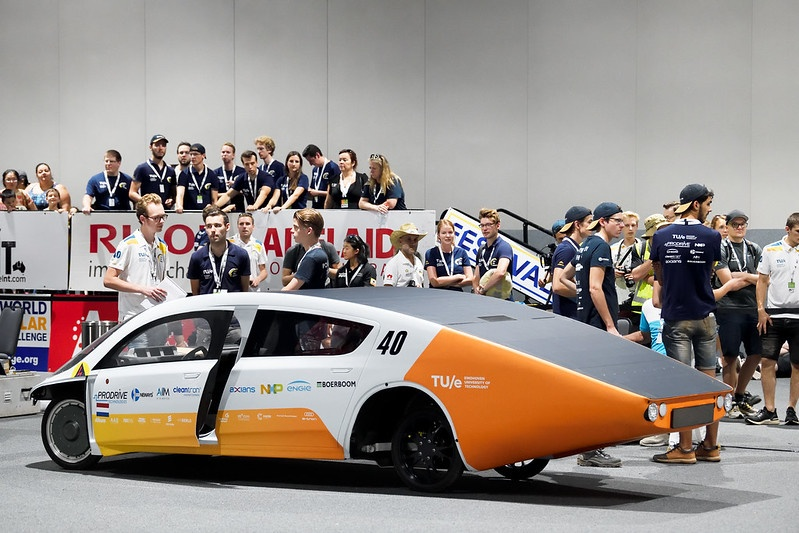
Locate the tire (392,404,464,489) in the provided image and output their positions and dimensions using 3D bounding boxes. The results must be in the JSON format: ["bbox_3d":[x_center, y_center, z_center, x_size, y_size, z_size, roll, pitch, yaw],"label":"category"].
[{"bbox_3d":[0.320,1.970,12.304,0.860,0.899,0.314,5,-7,17],"label":"tire"}]

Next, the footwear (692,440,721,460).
[{"bbox_3d":[3.640,2.179,13.469,0.153,0.170,0.364,-5,8,-38],"label":"footwear"}]

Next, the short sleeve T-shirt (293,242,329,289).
[{"bbox_3d":[-1.099,0.086,14.409,0.371,0.685,0.820,5,-2,0],"label":"short sleeve T-shirt"}]

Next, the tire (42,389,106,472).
[{"bbox_3d":[-3.743,1.863,13.118,0.892,0.936,0.352,2,-1,24],"label":"tire"}]

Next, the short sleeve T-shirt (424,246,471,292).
[{"bbox_3d":[0.678,0.073,16.178,0.701,0.706,0.379,1,9,-21],"label":"short sleeve T-shirt"}]

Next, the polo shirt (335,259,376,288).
[{"bbox_3d":[-0.548,0.129,14.416,0.559,0.435,0.292,0,-5,24],"label":"polo shirt"}]

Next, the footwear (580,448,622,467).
[{"bbox_3d":[2.308,2.199,13.312,0.544,0.284,0.218,-1,0,9],"label":"footwear"}]

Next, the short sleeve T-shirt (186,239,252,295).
[{"bbox_3d":[-2.370,0.034,15.040,0.836,0.798,0.464,0,21,5],"label":"short sleeve T-shirt"}]

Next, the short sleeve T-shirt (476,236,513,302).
[{"bbox_3d":[1.333,-0.015,16.007,0.360,0.925,0.657,2,-1,-40],"label":"short sleeve T-shirt"}]

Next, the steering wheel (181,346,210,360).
[{"bbox_3d":[-2.270,0.963,12.699,0.235,0.089,0.171,-16,-1,20],"label":"steering wheel"}]

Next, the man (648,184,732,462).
[{"bbox_3d":[3.500,0.646,13.725,0.919,3.328,0.837,-1,-1,-30],"label":"man"}]

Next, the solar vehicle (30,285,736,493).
[{"bbox_3d":[-0.422,1.189,12.617,4.908,1.369,3.055,2,0,19],"label":"solar vehicle"}]

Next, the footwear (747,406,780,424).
[{"bbox_3d":[4.868,2.002,15.324,0.434,0.191,0.272,2,9,16],"label":"footwear"}]

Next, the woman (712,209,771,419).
[{"bbox_3d":[4.585,0.640,15.402,0.684,2.793,0.897,-6,-1,32],"label":"woman"}]

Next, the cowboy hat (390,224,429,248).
[{"bbox_3d":[0.062,-0.414,15.644,0.414,0.362,0.359,1,8,7],"label":"cowboy hat"}]

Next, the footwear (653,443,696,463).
[{"bbox_3d":[3.231,2.221,13.454,0.516,0.231,0.198,4,1,16],"label":"footwear"}]

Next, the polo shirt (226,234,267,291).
[{"bbox_3d":[-2.126,-0.036,15.618,0.749,0.974,0.341,-2,5,-19],"label":"polo shirt"}]

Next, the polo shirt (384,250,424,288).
[{"bbox_3d":[0.111,0.068,15.649,0.681,0.566,0.374,-3,1,-40],"label":"polo shirt"}]
